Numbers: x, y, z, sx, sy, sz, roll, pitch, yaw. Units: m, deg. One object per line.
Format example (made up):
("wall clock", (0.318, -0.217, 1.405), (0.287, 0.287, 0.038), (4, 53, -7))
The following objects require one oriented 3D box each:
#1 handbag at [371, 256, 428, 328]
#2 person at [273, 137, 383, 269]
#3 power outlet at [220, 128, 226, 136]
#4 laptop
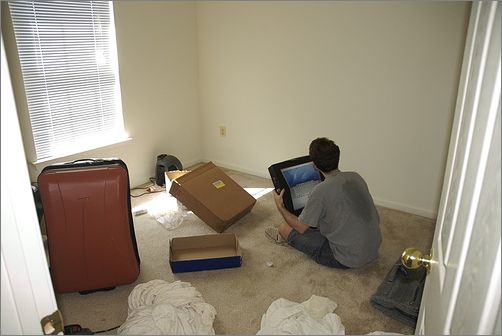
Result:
("handbag", (1.161, 0.952, 2.721), (0.332, 0.183, 0.502), (11, 26, 32))
("person", (0.648, 0.327, 2.880), (0.826, 1.098, 0.476), (0, 21, 7))
("power outlet", (-0.377, -0.496, 4.708), (0.077, 0.116, 0.011), (15, 27, 32))
("laptop", (0.473, 0.120, 3.422), (0.453, 0.353, 0.384), (-14, 16, -12))
